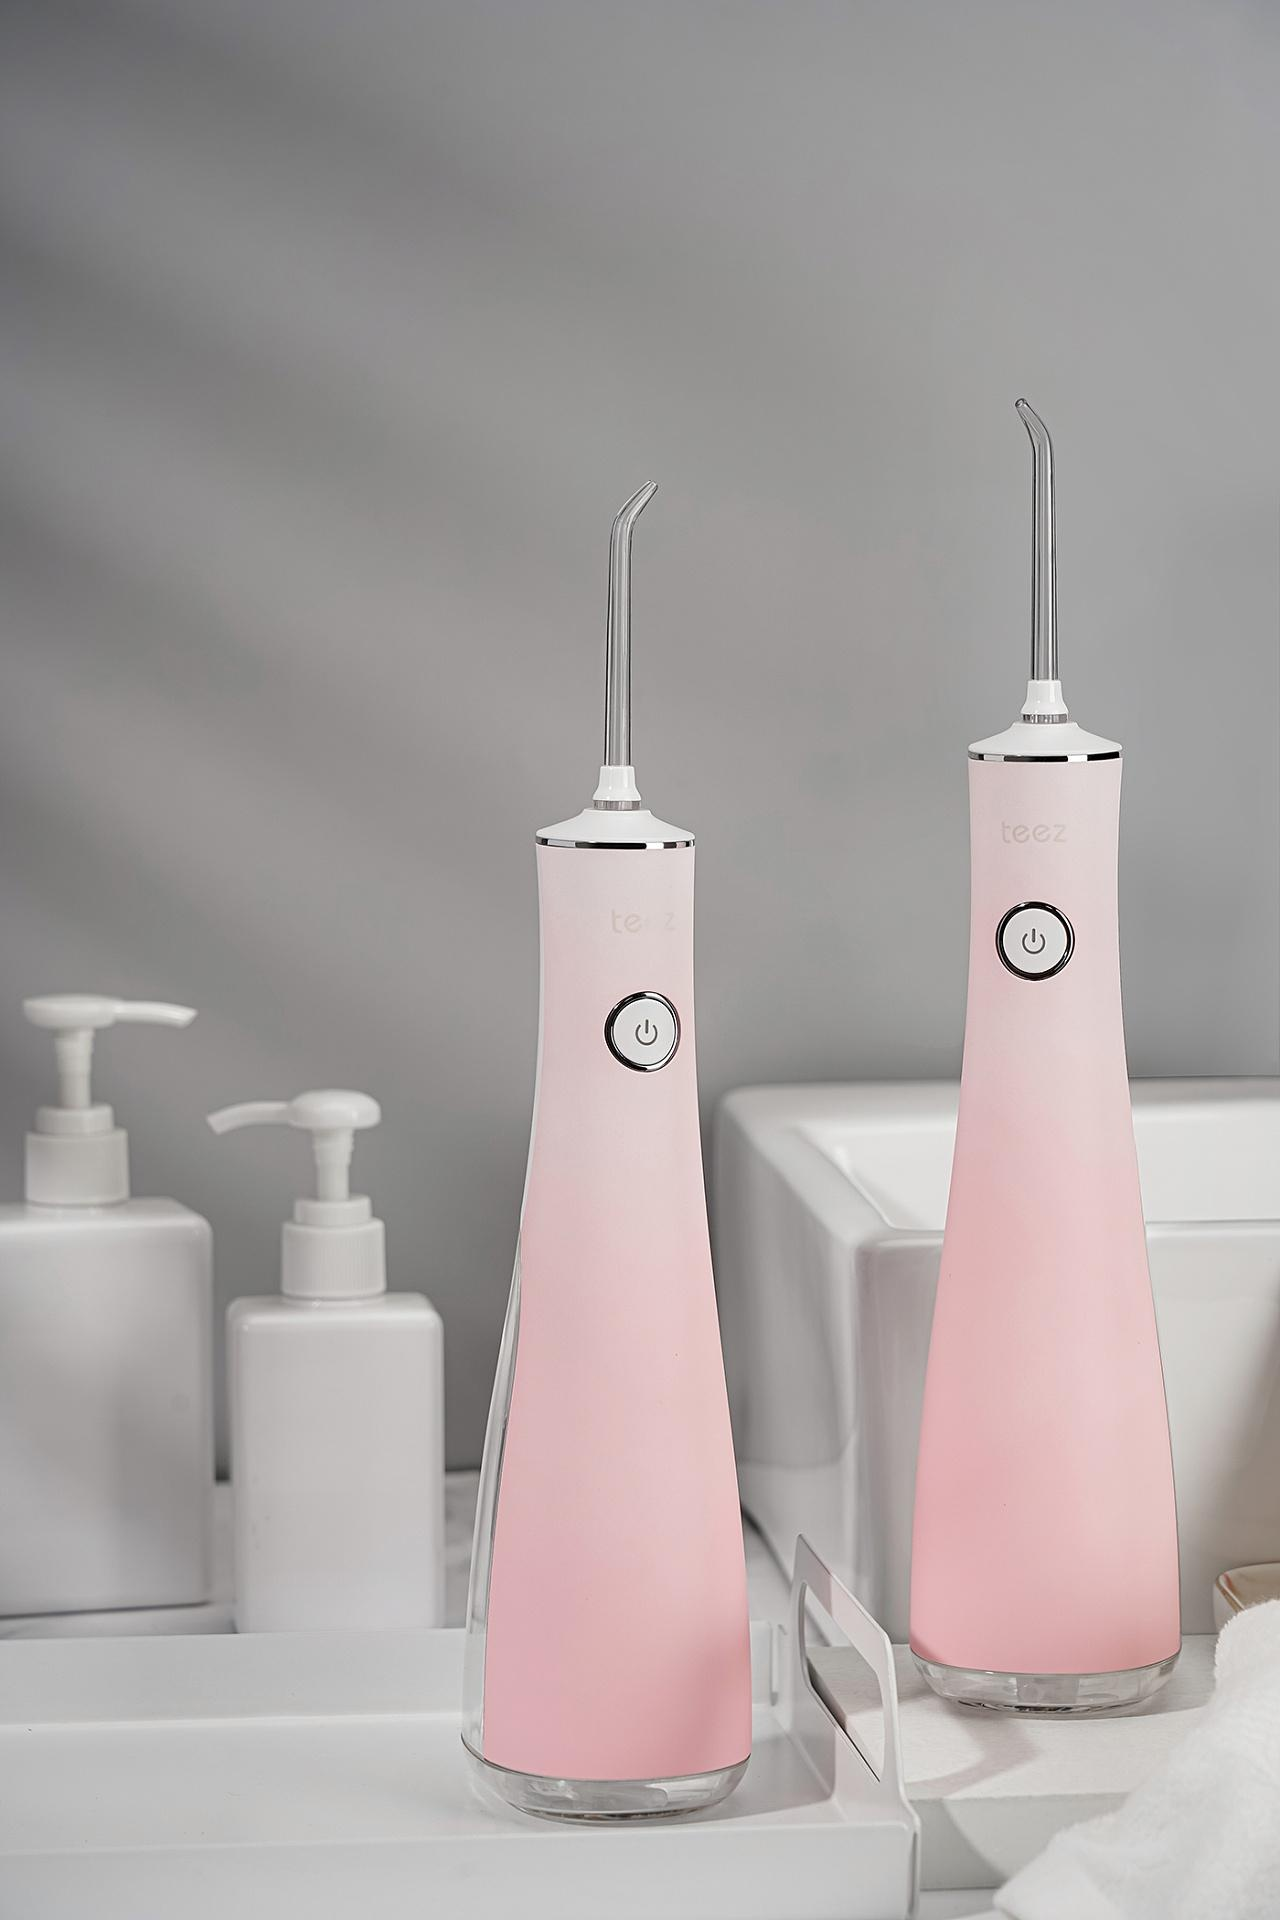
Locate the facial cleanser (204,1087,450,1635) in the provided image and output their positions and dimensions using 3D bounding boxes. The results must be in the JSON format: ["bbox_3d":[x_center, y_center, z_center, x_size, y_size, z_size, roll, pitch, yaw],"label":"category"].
[{"bbox_3d":[-0.082,0.109,0.588,0.060,0.144,0.046,1,-16,-5],"label":"facial cleanser"}]

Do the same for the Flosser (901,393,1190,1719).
[{"bbox_3d":[0.090,0.019,0.517,0.063,0.314,0.088,-2,-16,7],"label":"Flosser"}]

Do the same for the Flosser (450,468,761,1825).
[{"bbox_3d":[-0.006,0.041,0.472,0.060,0.282,0.095,1,-16,-5],"label":"Flosser"}]
